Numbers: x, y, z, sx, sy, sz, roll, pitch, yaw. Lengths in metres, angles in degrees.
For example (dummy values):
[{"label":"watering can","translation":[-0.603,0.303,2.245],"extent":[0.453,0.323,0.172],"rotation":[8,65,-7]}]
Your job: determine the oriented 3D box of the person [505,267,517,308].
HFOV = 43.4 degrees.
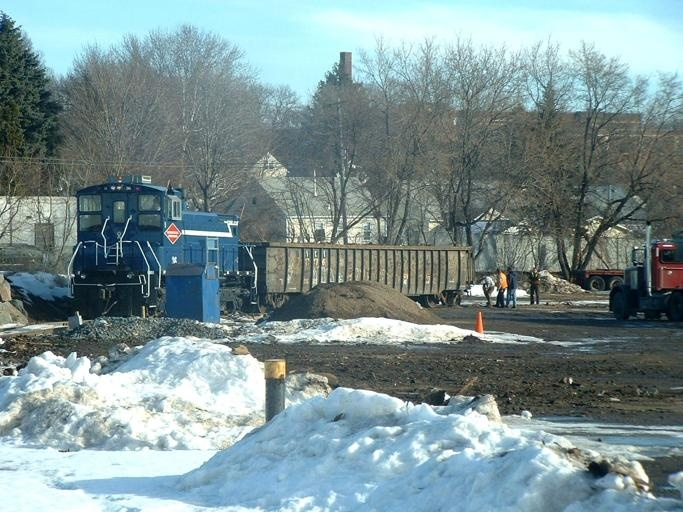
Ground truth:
[{"label":"person","translation":[7.889,1.531,40.198],"extent":[0.497,1.941,1.386],"rotation":[-5,9,7]}]
